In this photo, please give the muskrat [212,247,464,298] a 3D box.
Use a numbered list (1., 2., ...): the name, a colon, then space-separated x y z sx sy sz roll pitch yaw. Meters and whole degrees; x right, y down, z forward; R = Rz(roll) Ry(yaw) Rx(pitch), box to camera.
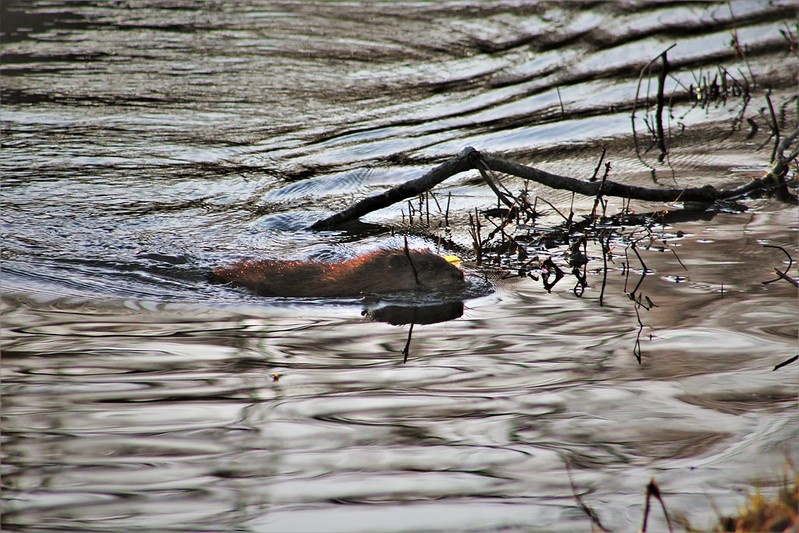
1. muskrat: -0.692 0.032 8.121 2.050 0.254 0.336 -1 32 -17
